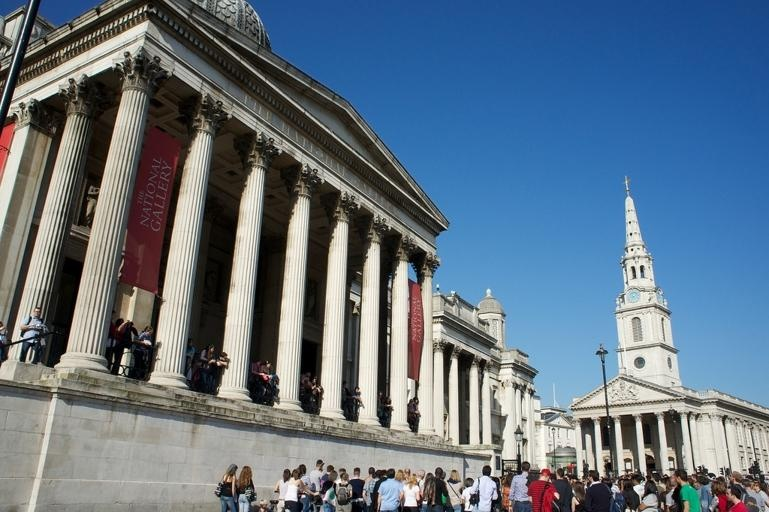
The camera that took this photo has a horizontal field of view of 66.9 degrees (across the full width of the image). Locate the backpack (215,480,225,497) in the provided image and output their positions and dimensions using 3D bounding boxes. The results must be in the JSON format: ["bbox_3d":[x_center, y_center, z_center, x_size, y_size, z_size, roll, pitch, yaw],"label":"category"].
[{"bbox_3d":[-4.985,7.067,17.808,0.193,0.489,0.456,23,-30,-39],"label":"backpack"}]

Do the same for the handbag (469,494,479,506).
[{"bbox_3d":[2.895,7.917,18.900,0.294,0.405,0.149,24,5,32],"label":"handbag"}]
